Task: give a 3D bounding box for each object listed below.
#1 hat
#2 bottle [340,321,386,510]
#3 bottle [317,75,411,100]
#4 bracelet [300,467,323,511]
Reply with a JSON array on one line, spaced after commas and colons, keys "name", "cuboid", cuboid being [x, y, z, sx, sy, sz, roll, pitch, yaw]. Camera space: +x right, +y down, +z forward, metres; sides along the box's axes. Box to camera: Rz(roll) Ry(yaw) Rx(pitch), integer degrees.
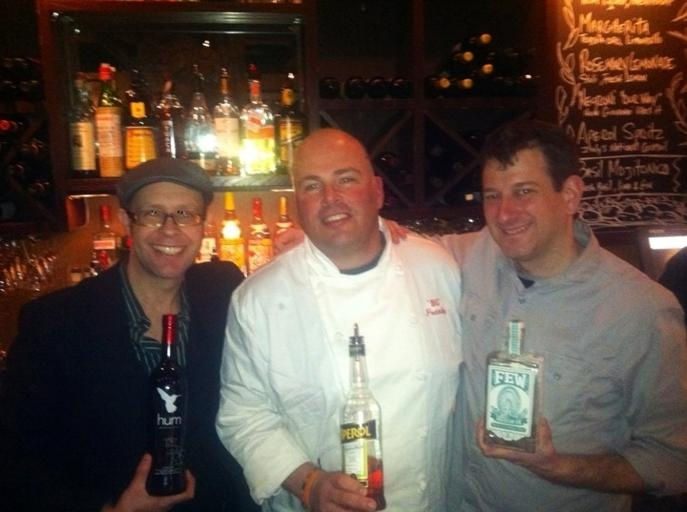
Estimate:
[{"name": "hat", "cuboid": [-0.799, -0.377, 2.709, 0.444, 0.116, 0.448, -2, 13, -23]}, {"name": "bottle", "cuboid": [0.059, 0.604, 2.320, 0.162, 0.684, 0.258, -5, 3, 2]}, {"name": "bottle", "cuboid": [0.123, -0.955, 3.468, 0.441, 0.185, 0.100, 1, 19, 3]}, {"name": "bracelet", "cuboid": [-0.124, 0.888, 2.315, 0.062, 0.125, 0.122, 5, 3, 28]}]
